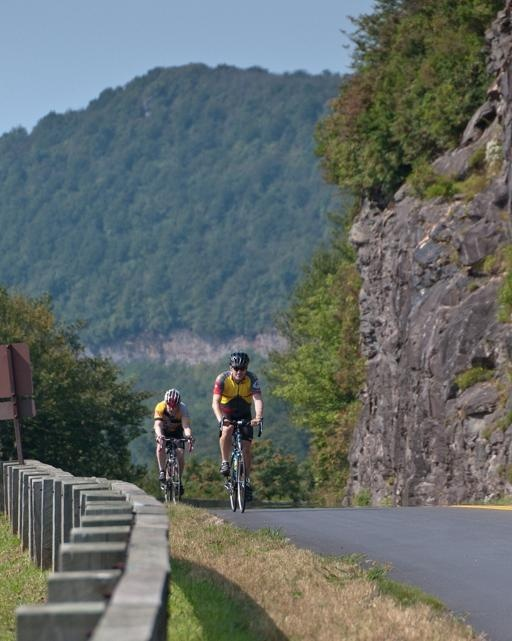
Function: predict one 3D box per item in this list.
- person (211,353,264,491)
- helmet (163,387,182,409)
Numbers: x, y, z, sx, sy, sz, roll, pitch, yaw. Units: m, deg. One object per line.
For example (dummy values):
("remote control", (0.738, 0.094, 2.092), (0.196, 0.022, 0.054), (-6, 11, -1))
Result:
("person", (-0.516, 2.930, 49.399), (1.303, 3.957, 1.184), (-4, -3, -2))
("helmet", (-2.367, 2.164, 51.011), (0.333, 0.558, 0.570), (0, 39, -8))
